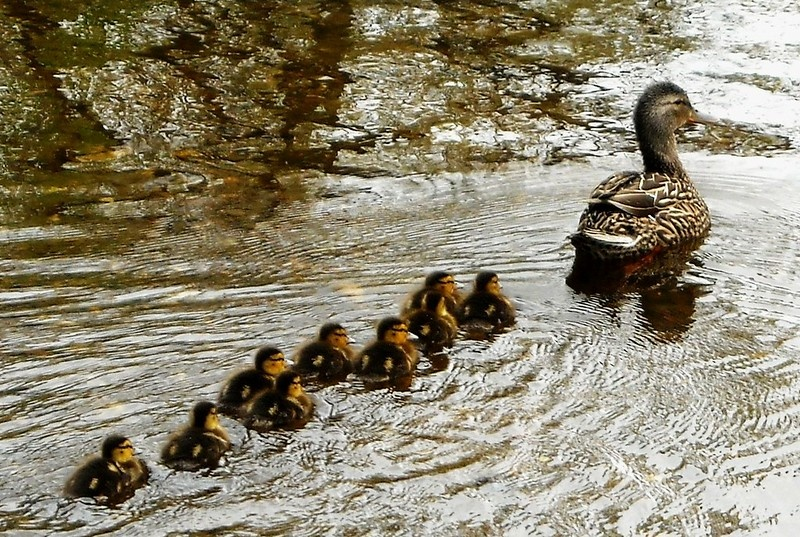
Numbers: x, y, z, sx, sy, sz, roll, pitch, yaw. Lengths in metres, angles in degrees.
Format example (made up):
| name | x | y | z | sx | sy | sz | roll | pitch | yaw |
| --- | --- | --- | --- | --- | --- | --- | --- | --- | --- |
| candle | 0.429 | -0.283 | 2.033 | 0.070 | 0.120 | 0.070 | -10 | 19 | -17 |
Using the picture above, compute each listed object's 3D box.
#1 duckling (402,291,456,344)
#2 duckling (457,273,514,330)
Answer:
| name | x | y | z | sx | sy | sz | roll | pitch | yaw |
| --- | --- | --- | --- | --- | --- | --- | --- | --- | --- |
| duckling | 0.275 | 0.367 | 6.481 | 0.443 | 0.265 | 0.423 | 5 | 36 | 6 |
| duckling | 0.671 | 0.256 | 6.625 | 0.495 | 0.288 | 0.485 | 4 | 29 | 10 |
